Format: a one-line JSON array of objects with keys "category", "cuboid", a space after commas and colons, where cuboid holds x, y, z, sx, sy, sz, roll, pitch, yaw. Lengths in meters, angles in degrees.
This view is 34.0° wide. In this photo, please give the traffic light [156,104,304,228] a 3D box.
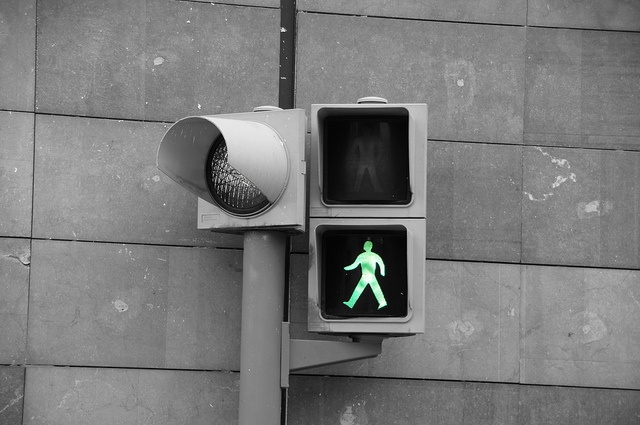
[{"category": "traffic light", "cuboid": [-0.600, -0.285, 8.090, 1.045, 0.895, 1.086, -2, 86, 28]}]
